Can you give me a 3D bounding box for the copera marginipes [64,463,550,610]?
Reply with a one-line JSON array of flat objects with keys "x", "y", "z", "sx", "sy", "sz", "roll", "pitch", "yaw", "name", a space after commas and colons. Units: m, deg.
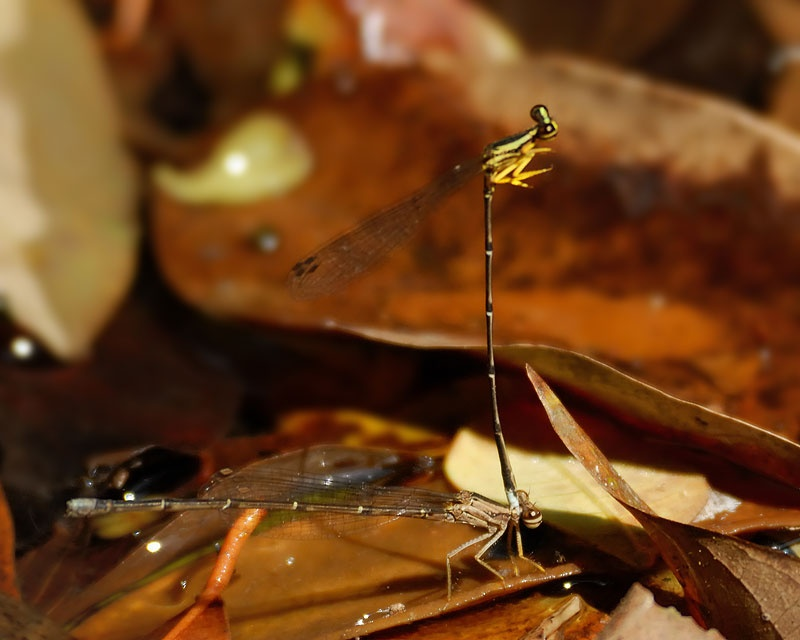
[{"x": -0.088, "y": 0.192, "z": 0.917, "sx": 0.430, "sy": 0.170, "sz": 0.081, "roll": -1, "pitch": 51, "yaw": 0, "name": "copera marginipes"}]
